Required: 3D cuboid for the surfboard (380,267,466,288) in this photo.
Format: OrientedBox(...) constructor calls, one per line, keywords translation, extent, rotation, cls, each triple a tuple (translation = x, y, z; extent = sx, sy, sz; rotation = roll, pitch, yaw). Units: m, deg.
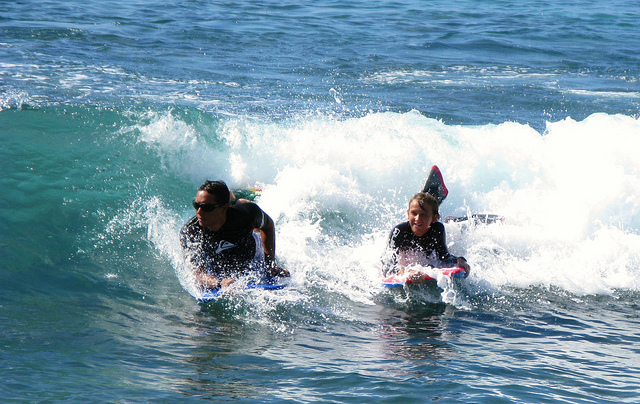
OrientedBox(translation=(2.215, 1.402, 15.082), extent=(1.061, 0.650, 0.149), rotation=(-8, 85, -27), cls="surfboard")
